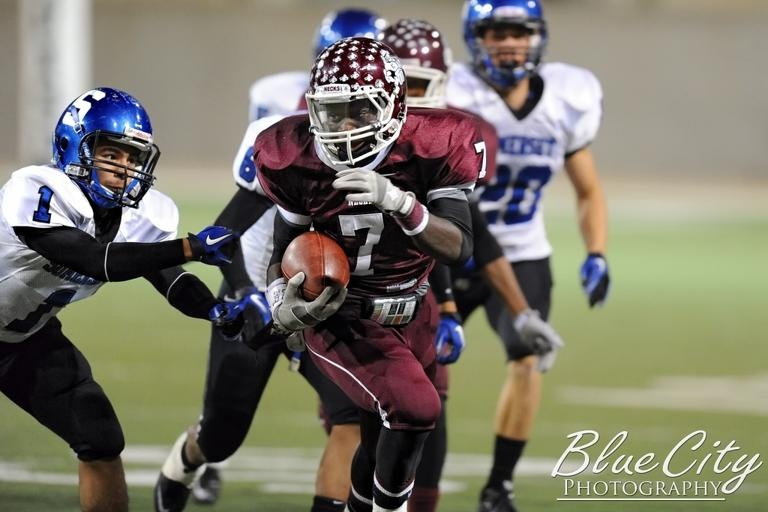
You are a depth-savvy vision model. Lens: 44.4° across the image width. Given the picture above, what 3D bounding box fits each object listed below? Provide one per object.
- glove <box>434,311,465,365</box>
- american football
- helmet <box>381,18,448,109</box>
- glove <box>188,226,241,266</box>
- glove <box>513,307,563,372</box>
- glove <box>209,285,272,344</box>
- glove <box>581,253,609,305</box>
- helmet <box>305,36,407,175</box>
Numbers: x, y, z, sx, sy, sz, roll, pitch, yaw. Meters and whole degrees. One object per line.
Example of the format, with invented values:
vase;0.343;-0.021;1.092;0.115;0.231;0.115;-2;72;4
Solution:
glove;0.306;0.387;4.440;0.163;0.214;0.077;-1;-9;16
american football;-0.270;0.043;3.770;0.228;0.228;0.276;6;4;-2
helmet;0.226;-0.987;4.870;0.372;0.421;0.496;-1;13;4
glove;-0.686;-0.043;3.795;0.185;0.138;0.082;-3;-12;-31
glove;0.763;0.410;4.685;0.218;0.177;0.356;48;-3;20
glove;-0.673;0.273;4.185;0.278;0.194;0.136;10;-39;22
glove;1.018;0.114;4.615;0.146;0.234;0.096;35;-25;-29
helmet;-0.104;-0.600;3.761;0.396;0.523;0.530;-2;22;18
